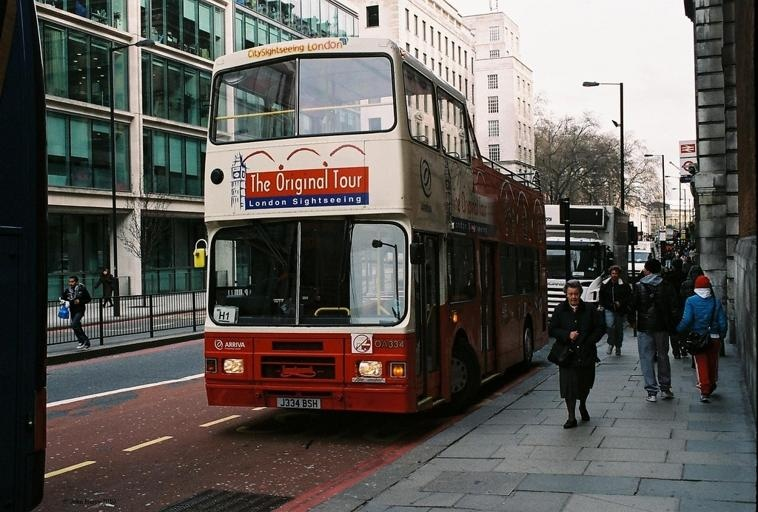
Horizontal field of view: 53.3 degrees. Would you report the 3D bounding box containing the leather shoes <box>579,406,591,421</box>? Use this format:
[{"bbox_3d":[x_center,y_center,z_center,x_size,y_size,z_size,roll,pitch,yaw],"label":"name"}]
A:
[{"bbox_3d":[3.262,2.502,11.971,0.109,0.336,0.084,-11,1,-4],"label":"leather shoes"}]

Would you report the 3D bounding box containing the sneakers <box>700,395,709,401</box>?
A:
[{"bbox_3d":[5.664,2.468,13.080,0.141,0.092,0.241,-1,2,24],"label":"sneakers"}]

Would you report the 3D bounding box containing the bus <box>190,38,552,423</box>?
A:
[{"bbox_3d":[1.055,-0.236,16.525,3.193,5.941,11.530,-2,-2,22],"label":"bus"}]

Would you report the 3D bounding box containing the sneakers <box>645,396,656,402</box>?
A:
[{"bbox_3d":[4.774,2.514,13.213,0.069,0.084,0.187,-1,-11,11],"label":"sneakers"}]

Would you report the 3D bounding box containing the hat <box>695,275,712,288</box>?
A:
[{"bbox_3d":[5.770,0.455,13.425,0.209,0.293,0.298,1,-7,20],"label":"hat"}]

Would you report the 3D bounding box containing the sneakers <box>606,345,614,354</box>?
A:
[{"bbox_3d":[5.930,2.440,19.402,0.159,0.253,0.560,-3,-12,22],"label":"sneakers"}]

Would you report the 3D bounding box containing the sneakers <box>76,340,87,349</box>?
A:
[{"bbox_3d":[-8.522,2.548,21.551,0.173,0.176,0.323,-1,-6,-1],"label":"sneakers"}]

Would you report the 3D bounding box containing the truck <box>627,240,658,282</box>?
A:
[{"bbox_3d":[16.117,0.265,46.618,1.572,2.441,4.755,1,11,28],"label":"truck"}]

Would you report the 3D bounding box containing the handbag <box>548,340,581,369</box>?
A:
[{"bbox_3d":[2.901,1.556,11.919,0.442,0.407,0.220,-2,2,4],"label":"handbag"}]

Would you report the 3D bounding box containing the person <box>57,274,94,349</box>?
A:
[{"bbox_3d":[-8.612,1.614,21.417,0.744,2.037,0.927,-2,2,-18],"label":"person"}]
